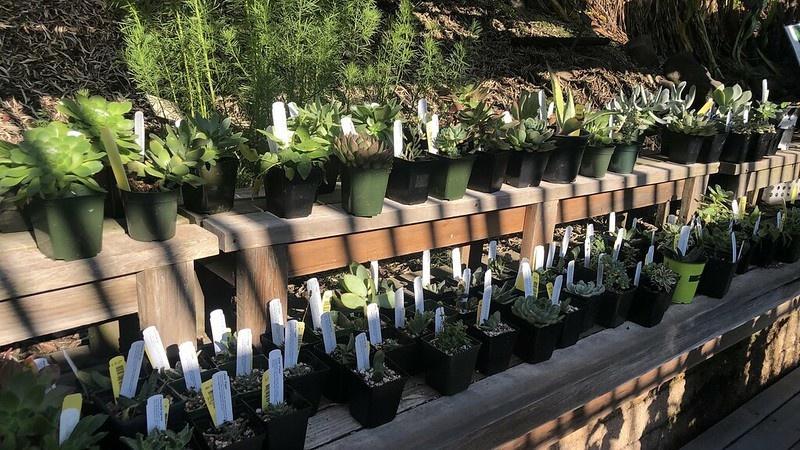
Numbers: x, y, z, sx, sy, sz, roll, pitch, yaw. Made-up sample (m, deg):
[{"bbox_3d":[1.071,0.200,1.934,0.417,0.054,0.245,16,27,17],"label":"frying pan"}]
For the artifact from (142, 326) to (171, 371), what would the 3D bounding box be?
[{"bbox_3d":[-1.101,0.550,2.264,0.085,0.244,0.043,-19,24,-25],"label":"artifact"}]

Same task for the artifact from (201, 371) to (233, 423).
[{"bbox_3d":[-0.764,0.719,2.106,0.105,0.245,0.059,-12,20,-24],"label":"artifact"}]

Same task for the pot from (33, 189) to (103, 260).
[{"bbox_3d":[-1.477,0.010,2.306,0.357,0.254,0.284,-2,1,-22],"label":"pot"}]

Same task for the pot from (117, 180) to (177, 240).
[{"bbox_3d":[-1.214,-0.059,2.446,0.282,0.227,0.296,2,9,0],"label":"pot"}]

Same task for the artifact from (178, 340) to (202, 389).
[{"bbox_3d":[-0.940,0.599,2.238,0.077,0.227,0.161,-13,20,-26],"label":"artifact"}]

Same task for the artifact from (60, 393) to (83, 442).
[{"bbox_3d":[-1.301,0.748,1.977,0.084,0.137,0.125,-12,19,-22],"label":"artifact"}]

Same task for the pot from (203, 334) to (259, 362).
[{"bbox_3d":[-0.830,0.587,2.380,0.168,0.070,0.165,-5,20,2],"label":"pot"}]
